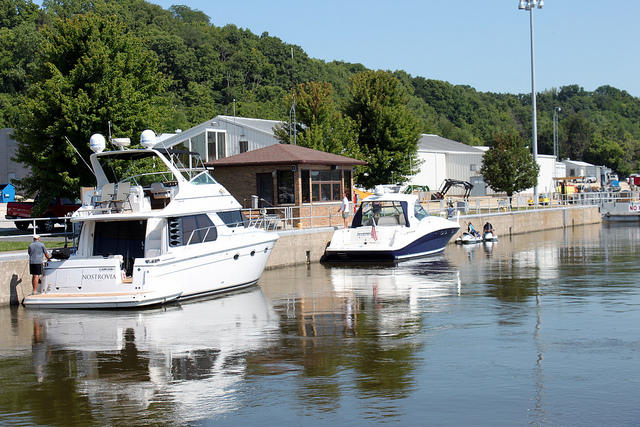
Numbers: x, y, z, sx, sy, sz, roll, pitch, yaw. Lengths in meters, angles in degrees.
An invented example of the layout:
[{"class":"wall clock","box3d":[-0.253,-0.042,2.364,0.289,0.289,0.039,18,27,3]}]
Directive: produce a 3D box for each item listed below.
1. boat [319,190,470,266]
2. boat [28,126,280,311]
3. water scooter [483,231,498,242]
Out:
[{"class":"boat","box3d":[4.254,0.686,48.636,4.588,3.266,9.817,-2,1,31]},{"class":"boat","box3d":[-5.625,0.224,38.826,5.361,5.866,10.649,1,3,29]},{"class":"water scooter","box3d":[9.944,1.353,56.001,0.869,0.564,0.433,-2,12,-8]}]
